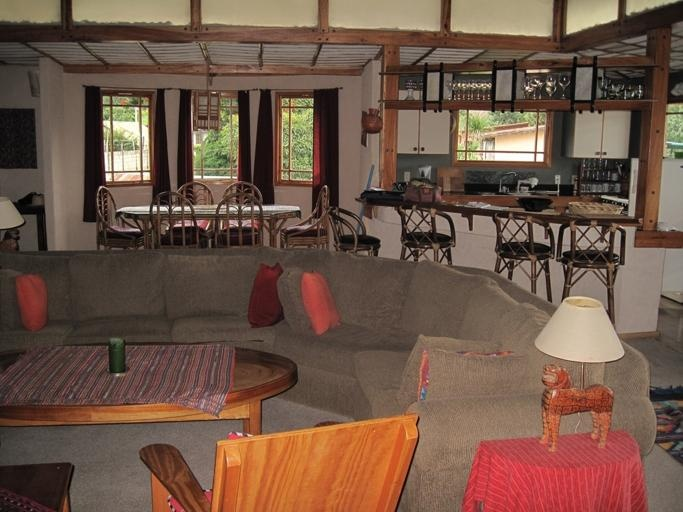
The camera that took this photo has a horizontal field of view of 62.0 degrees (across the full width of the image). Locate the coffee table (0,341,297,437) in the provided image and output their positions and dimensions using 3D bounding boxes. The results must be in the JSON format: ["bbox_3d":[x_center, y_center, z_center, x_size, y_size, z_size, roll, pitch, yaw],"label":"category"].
[{"bbox_3d":[-1.035,0.931,3.428,1.507,0.551,0.727,0,14,-6],"label":"coffee table"}]

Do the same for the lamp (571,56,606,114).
[{"bbox_3d":[2.735,-1.897,6.285,0.422,0.574,0.228,-12,19,-41],"label":"lamp"}]

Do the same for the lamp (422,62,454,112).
[{"bbox_3d":[1.100,-1.941,6.531,0.347,0.515,0.210,2,14,5],"label":"lamp"}]

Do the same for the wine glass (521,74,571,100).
[{"bbox_3d":[2.283,-1.902,6.339,0.499,0.290,0.157,5,15,16],"label":"wine glass"}]

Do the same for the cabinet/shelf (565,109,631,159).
[{"bbox_3d":[3.851,-1.830,8.474,0.648,0.577,0.358,2,11,8],"label":"cabinet/shelf"}]

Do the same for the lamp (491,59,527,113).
[{"bbox_3d":[1.848,-1.900,6.342,0.359,0.523,0.215,5,15,14],"label":"lamp"}]
